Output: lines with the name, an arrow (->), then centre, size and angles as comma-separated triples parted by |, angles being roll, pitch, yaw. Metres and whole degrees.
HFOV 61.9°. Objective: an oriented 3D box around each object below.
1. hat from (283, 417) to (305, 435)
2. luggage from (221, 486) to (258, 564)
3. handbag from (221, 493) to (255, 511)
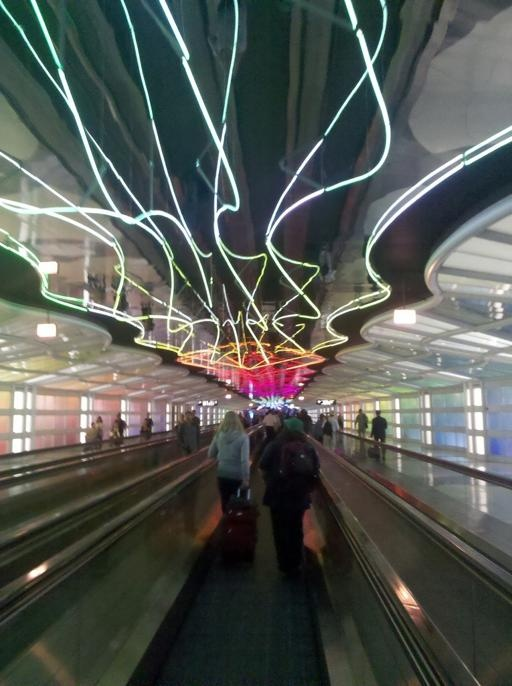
hat -> 0.395, 0.867, 4.532 | 0.134, 0.165, 0.204 | 0, -29, 3
luggage -> -0.180, 2.196, 5.188 | 0.423, 0.621, 0.832 | -2, -6, -4
handbag -> -0.195, 1.825, 4.920 | 0.225, 0.090, 0.248 | 1, -2, -9
